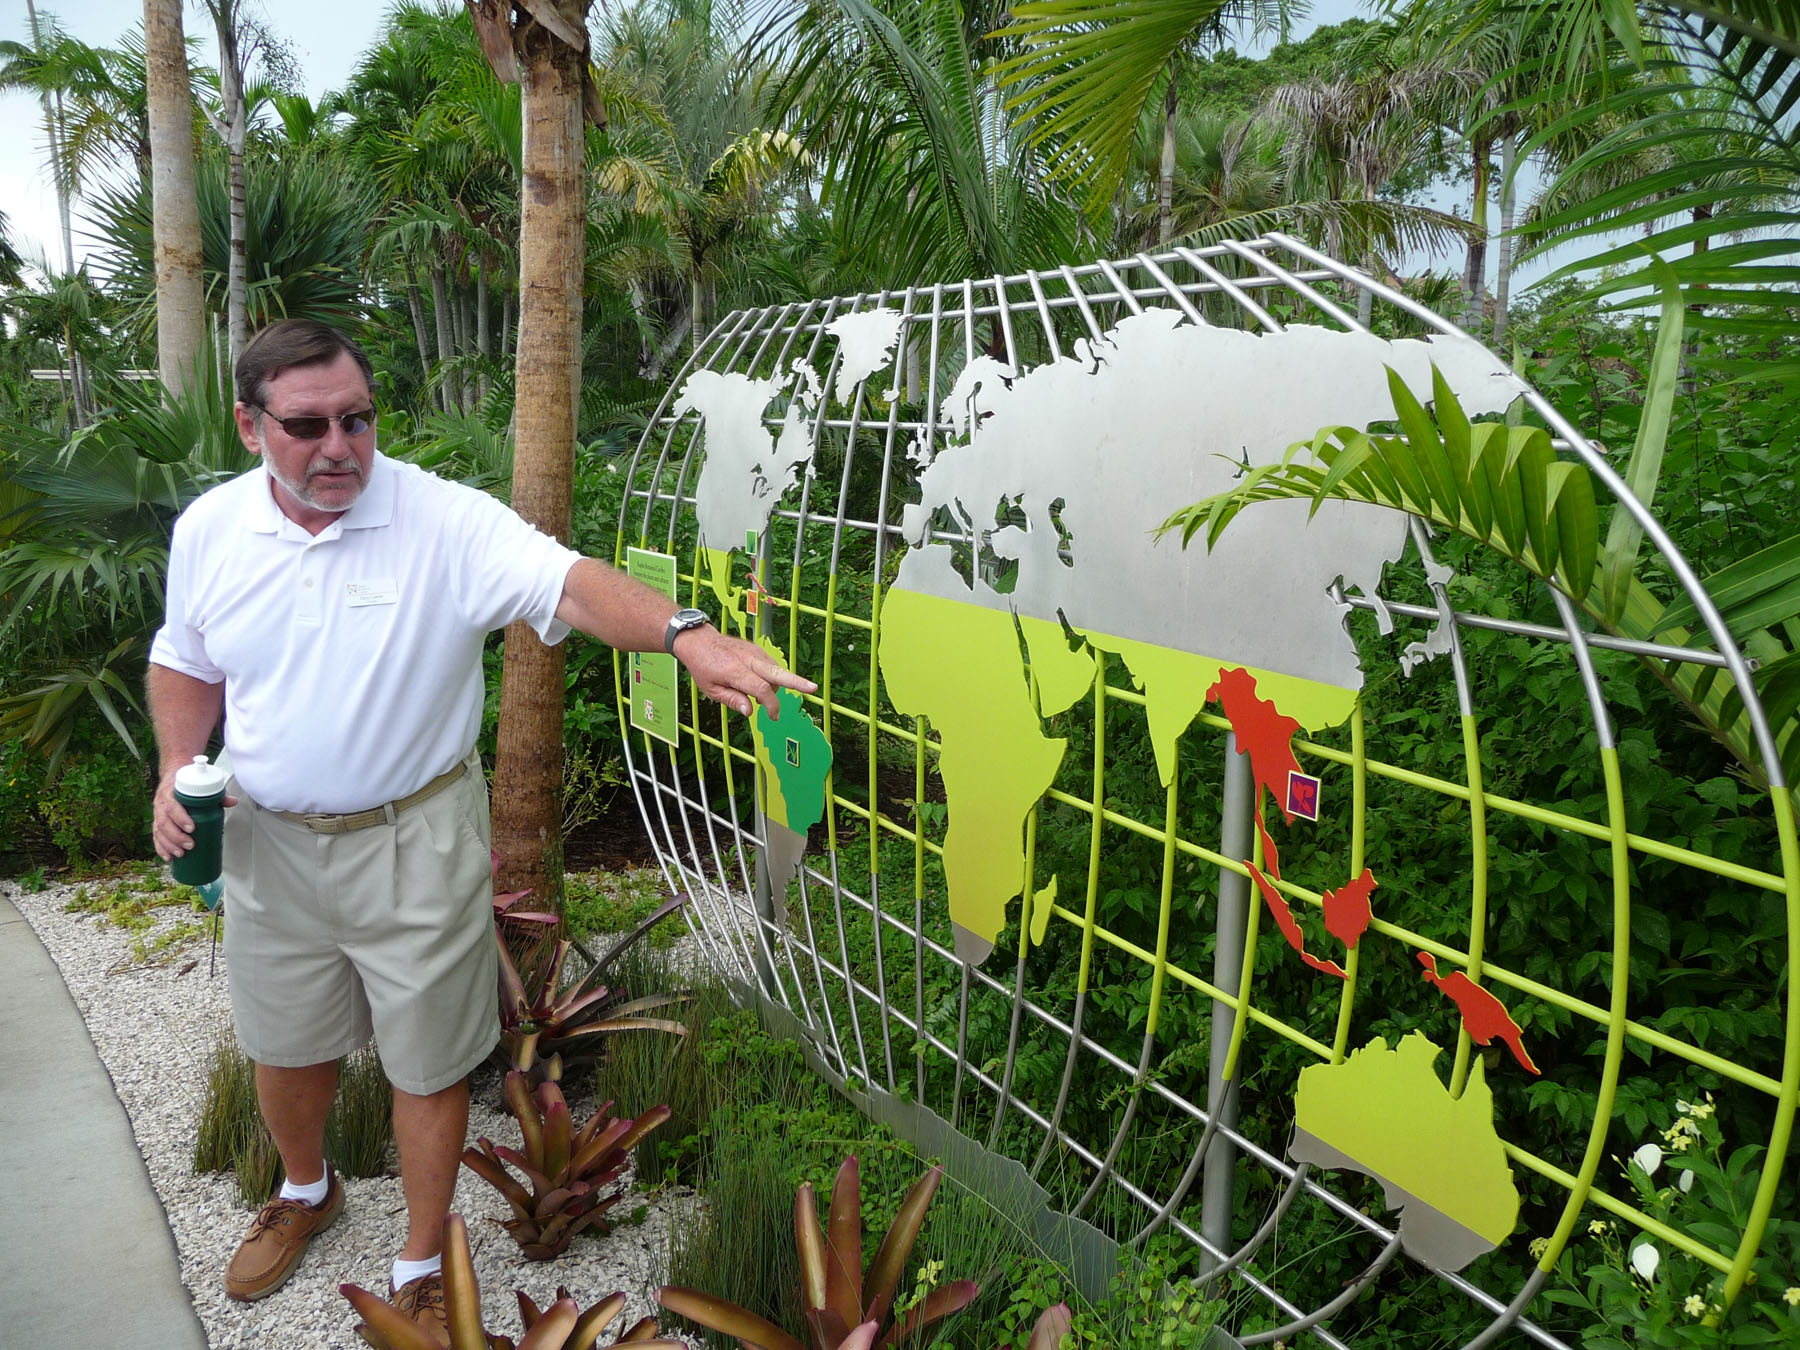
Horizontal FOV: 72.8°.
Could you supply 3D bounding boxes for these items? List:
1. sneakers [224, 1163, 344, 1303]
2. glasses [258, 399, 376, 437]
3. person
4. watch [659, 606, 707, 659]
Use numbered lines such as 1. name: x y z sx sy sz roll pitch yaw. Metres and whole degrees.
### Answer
1. sneakers: -1.697 1.528 3.364 0.119 0.153 0.340 14 17 4
2. glasses: -1.398 -0.605 2.908 0.249 0.085 0.137 -9 16 -26
3. person: -1.348 0.391 3.089 1.178 2.487 0.507 2 13 13
4. watch: -0.497 -0.100 2.844 0.107 0.098 0.117 -7 15 -24
